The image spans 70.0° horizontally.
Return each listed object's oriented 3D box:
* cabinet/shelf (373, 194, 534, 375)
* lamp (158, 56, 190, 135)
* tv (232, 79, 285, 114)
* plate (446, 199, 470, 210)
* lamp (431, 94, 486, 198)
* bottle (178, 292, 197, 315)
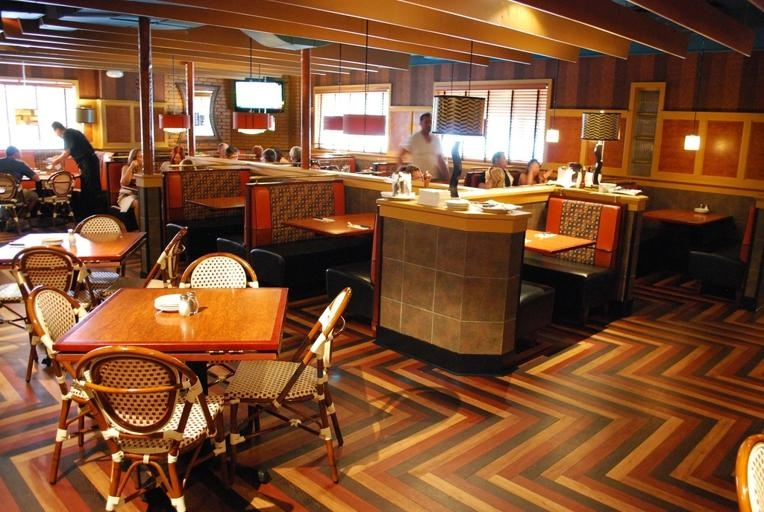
[{"bbox_3d":[0.691,0.341,5.536,0.934,1.413,1.650,-12,18,-42],"label":"cabinet/shelf"},{"bbox_3d":[-4.474,-3.374,12.054,0.651,1.512,0.611,13,3,6],"label":"lamp"},{"bbox_3d":[-2.144,-2.637,9.437,1.210,0.629,0.151,4,22,0],"label":"tv"},{"bbox_3d":[0.743,-0.467,5.417,0.143,0.045,0.136,5,14,19],"label":"plate"},{"bbox_3d":[0.772,-1.081,5.627,0.516,0.987,0.386,1,15,6],"label":"lamp"},{"bbox_3d":[-1.465,0.370,4.109,0.146,0.153,0.138,-7,16,-22],"label":"bottle"}]
